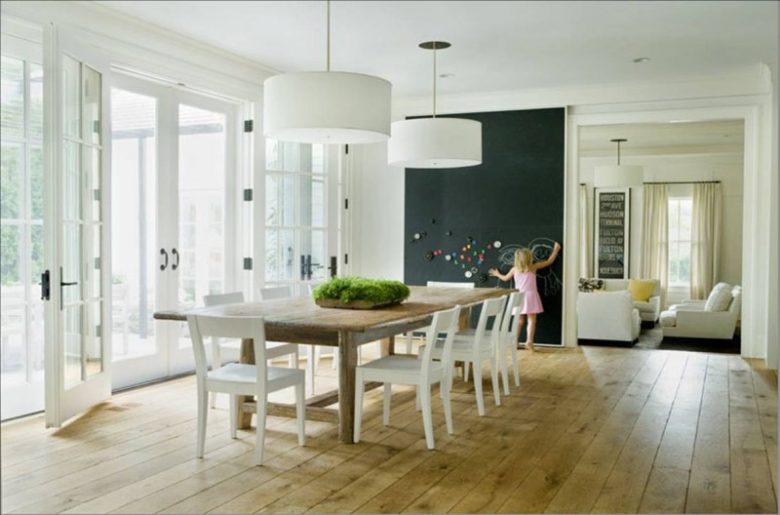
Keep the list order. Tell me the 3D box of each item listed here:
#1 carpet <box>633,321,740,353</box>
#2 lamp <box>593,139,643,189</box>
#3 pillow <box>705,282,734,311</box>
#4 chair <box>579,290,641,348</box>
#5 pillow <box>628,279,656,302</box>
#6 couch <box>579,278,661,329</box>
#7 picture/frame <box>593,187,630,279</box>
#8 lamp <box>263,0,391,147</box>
[{"bbox_3d":[4.364,1.229,8.367,1.350,0.217,2.012,3,7,28],"label":"carpet"},{"bbox_3d":[4.174,-1.734,10.429,0.920,0.861,0.854,1,6,10],"label":"lamp"},{"bbox_3d":[4.961,0.615,8.601,0.147,0.438,0.469,20,7,21],"label":"pillow"},{"bbox_3d":[3.204,0.913,8.303,0.527,0.593,0.925,7,-10,-42],"label":"chair"},{"bbox_3d":[4.564,0.610,10.345,0.380,0.276,0.191,7,10,31],"label":"pillow"},{"bbox_3d":[4.230,0.777,10.734,1.478,0.692,0.798,2,11,32],"label":"couch"},{"bbox_3d":[4.642,-0.520,11.952,0.758,1.849,0.416,3,8,17],"label":"picture/frame"},{"bbox_3d":[-0.468,-1.304,4.536,1.154,1.150,1.098,1,-1,3],"label":"lamp"}]
